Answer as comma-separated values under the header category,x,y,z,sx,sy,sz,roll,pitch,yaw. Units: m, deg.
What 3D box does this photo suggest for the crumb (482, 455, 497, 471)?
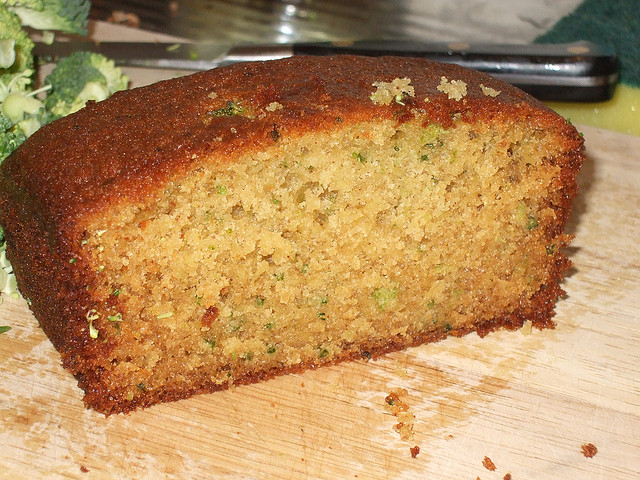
category,x,y,z,sx,sy,sz,roll,pitch,yaw
crumb,0.581,0.779,2.405,0.025,0.013,0.044,-3,46,-3

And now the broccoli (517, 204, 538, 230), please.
category,x,y,z,sx,sy,sz,roll,pitch,yaw
broccoli,0.800,-0.085,2.704,0.060,0.101,0.024,-35,26,2

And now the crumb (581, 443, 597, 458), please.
category,x,y,z,sx,sy,sz,roll,pitch,yaw
crumb,0.937,0.742,2.434,0.050,0.009,0.044,-30,55,-28

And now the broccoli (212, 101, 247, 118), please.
category,x,y,z,sx,sy,sz,roll,pitch,yaw
broccoli,-0.334,-0.474,2.508,0.122,0.020,0.051,-16,50,-19

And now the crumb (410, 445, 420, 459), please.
category,x,y,z,sx,sy,sz,roll,pitch,yaw
crumb,0.330,0.747,2.430,0.040,0.008,0.037,-19,51,-20

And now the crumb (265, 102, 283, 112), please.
category,x,y,z,sx,sy,sz,roll,pitch,yaw
crumb,-0.168,-0.480,2.492,0.061,0.015,0.033,-9,48,-12

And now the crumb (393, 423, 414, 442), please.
category,x,y,z,sx,sy,sz,roll,pitch,yaw
crumb,0.296,0.686,2.474,0.053,0.012,0.073,-27,54,-26
